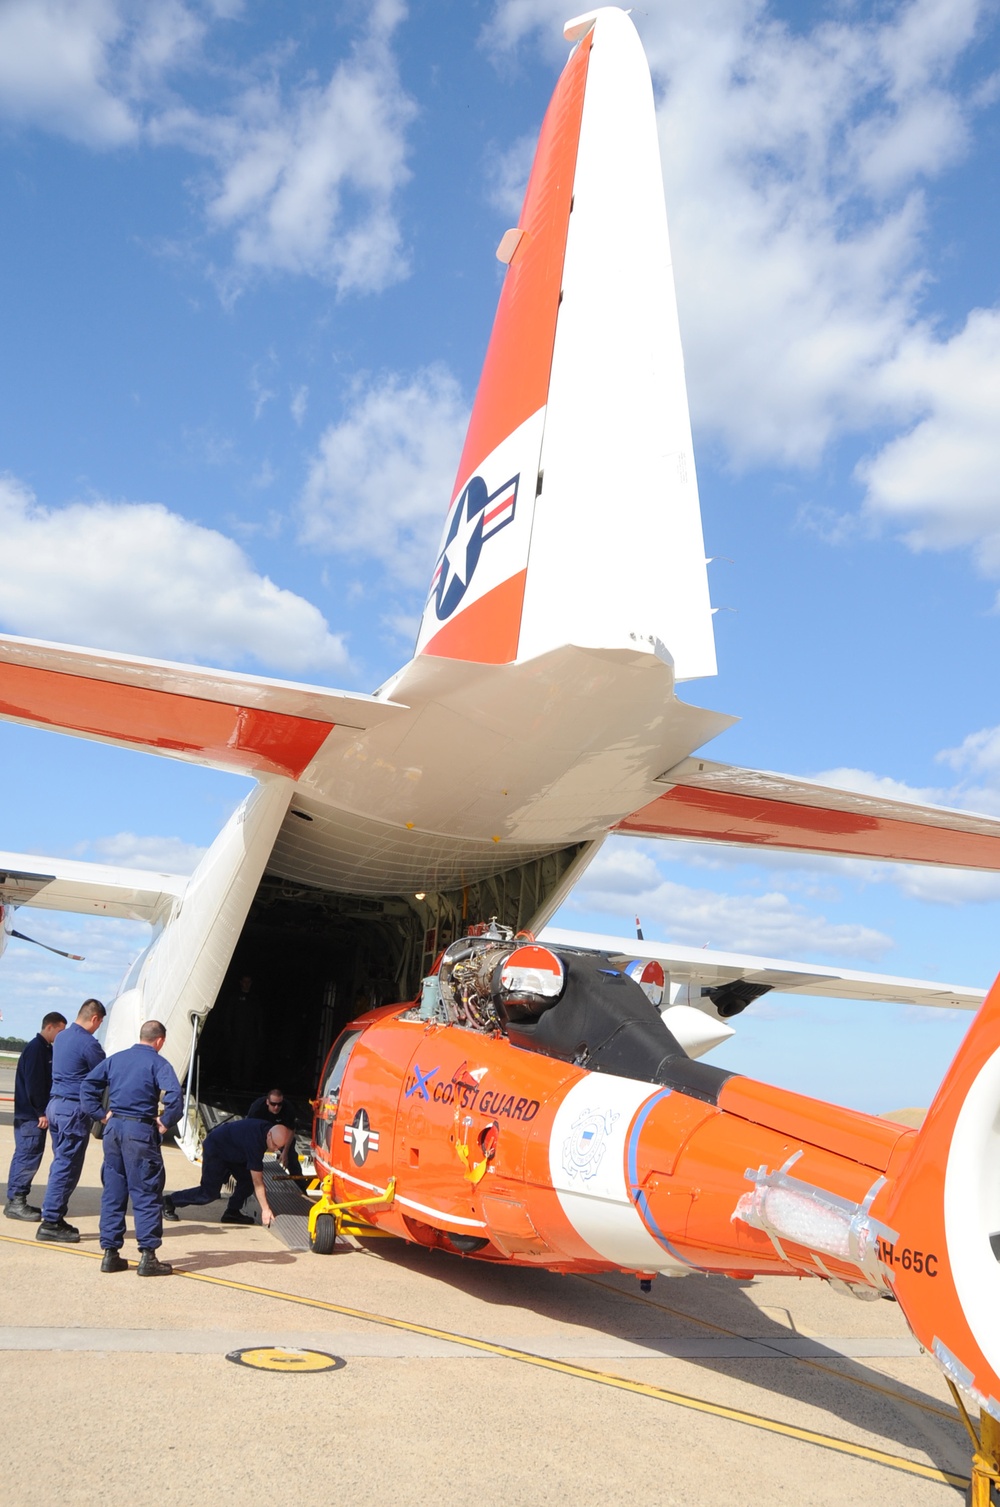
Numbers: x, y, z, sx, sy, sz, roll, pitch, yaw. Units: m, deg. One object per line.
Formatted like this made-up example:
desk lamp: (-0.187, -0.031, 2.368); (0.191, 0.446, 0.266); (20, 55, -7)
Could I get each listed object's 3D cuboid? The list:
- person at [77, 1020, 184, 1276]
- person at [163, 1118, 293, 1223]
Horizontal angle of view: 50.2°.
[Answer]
person: (-2.479, 2.690, 7.381); (0.642, 1.679, 0.551); (1, -4, 3)
person: (-2.343, 3.677, 9.343); (1.153, 0.913, 0.618); (5, -11, 4)
